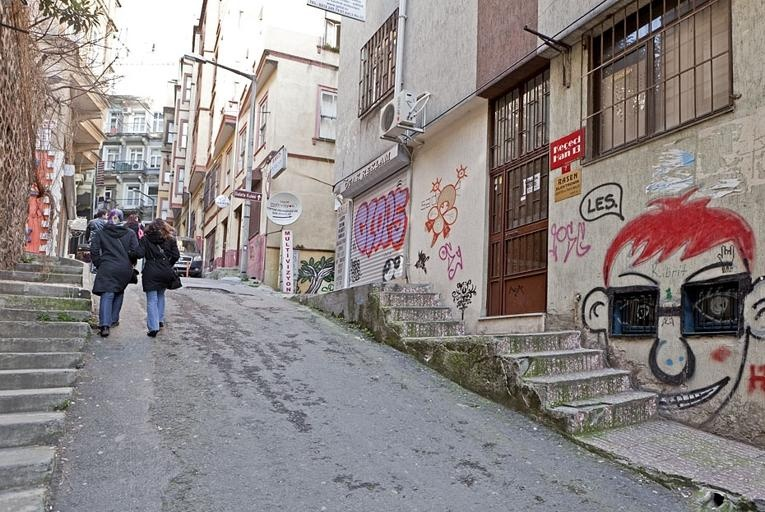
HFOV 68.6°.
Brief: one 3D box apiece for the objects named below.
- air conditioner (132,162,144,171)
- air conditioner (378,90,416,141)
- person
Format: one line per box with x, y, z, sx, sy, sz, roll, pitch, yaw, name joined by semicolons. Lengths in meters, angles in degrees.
-27.529;-10.076;62.373;1.317;0.961;0.712;-3;15;-27;air conditioner
0.302;-3.061;12.257;0.372;0.835;1.086;6;-11;-26;air conditioner
-4.240;0.394;9.528;1.328;1.739;1.190;-4;15;-29;person
